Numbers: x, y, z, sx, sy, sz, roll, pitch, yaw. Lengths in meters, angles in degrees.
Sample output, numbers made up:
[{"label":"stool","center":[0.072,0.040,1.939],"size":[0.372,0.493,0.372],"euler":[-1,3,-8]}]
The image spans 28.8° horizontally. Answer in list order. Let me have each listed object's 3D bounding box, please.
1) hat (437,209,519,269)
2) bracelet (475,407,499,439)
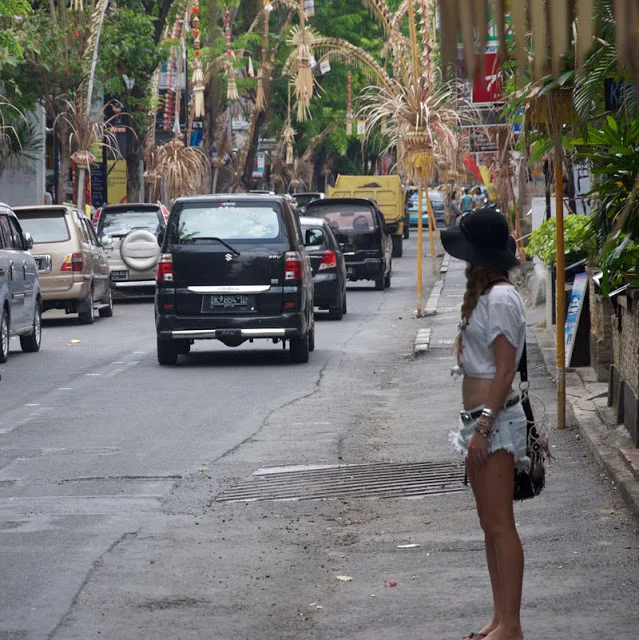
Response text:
[{"label":"hat","center":[0.558,-0.292,4.449],"size":[0.181,0.114,0.235],"euler":[0,16,-13]},{"label":"bracelet","center":[0.575,0.358,4.353],"size":[0.064,0.119,0.096],"euler":[7,-14,31]}]
